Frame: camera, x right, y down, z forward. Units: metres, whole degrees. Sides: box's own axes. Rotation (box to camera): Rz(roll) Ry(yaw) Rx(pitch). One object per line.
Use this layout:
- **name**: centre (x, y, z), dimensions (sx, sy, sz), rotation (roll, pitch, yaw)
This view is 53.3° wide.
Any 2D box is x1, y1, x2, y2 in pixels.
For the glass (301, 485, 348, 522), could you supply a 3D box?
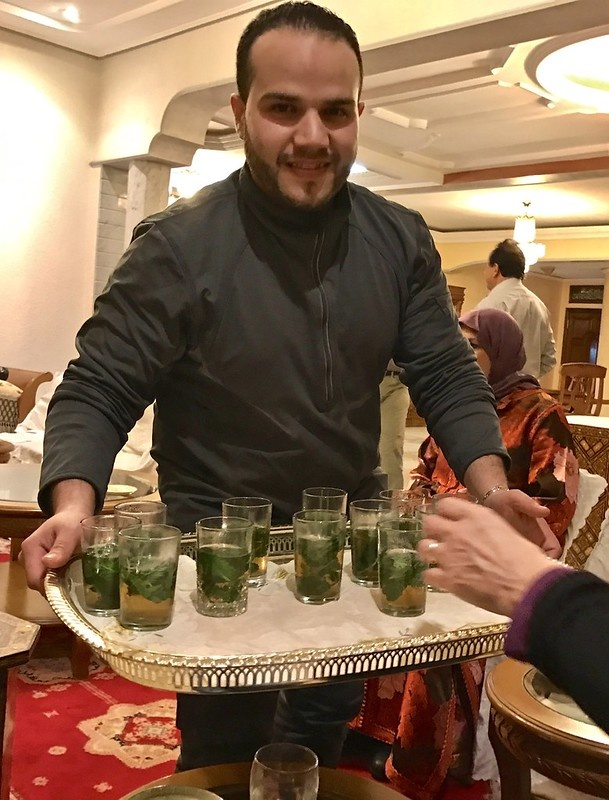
- **glass**: centre (0.032, 0.200, 1.126), dimensions (0.060, 0.037, 0.053), rotation (2, 0, -13)

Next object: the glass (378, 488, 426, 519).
- **glass**: centre (0.202, 0.216, 1.241), dimensions (0.063, 0.037, 0.054), rotation (1, -3, 8)

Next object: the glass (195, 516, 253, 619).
- **glass**: centre (-0.114, 0.240, 0.861), dimensions (0.093, 0.120, 0.084), rotation (7, -16, -31)

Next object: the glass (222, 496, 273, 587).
- **glass**: centre (-0.108, 0.248, 1.027), dimensions (0.099, 0.135, 0.088), rotation (1, -24, -10)

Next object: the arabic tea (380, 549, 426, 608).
- **arabic tea**: centre (0.147, 0.268, 0.901), dimensions (0.078, 0.101, 0.068), rotation (-2, -19, 10)

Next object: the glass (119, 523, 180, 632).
- **glass**: centre (-0.202, 0.240, 0.801), dimensions (0.094, 0.122, 0.084), rotation (1, -16, -6)

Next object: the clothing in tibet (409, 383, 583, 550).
- **clothing in tibet**: centre (0.727, 0.302, 2.427), dimensions (0.695, 0.684, 0.444), rotation (3, 0, 44)

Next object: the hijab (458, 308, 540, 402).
- **hijab**: centre (0.804, -0.190, 2.674), dimensions (0.397, 0.402, 0.463), rotation (5, -2, 14)

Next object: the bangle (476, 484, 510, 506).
- **bangle**: centre (0.360, 0.182, 1.170), dimensions (0.053, 0.015, 0.051), rotation (-27, -7, -9)

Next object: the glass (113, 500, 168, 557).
- **glass**: centre (-0.265, 0.200, 0.960), dimensions (0.068, 0.066, 0.072), rotation (0, 2, 1)
